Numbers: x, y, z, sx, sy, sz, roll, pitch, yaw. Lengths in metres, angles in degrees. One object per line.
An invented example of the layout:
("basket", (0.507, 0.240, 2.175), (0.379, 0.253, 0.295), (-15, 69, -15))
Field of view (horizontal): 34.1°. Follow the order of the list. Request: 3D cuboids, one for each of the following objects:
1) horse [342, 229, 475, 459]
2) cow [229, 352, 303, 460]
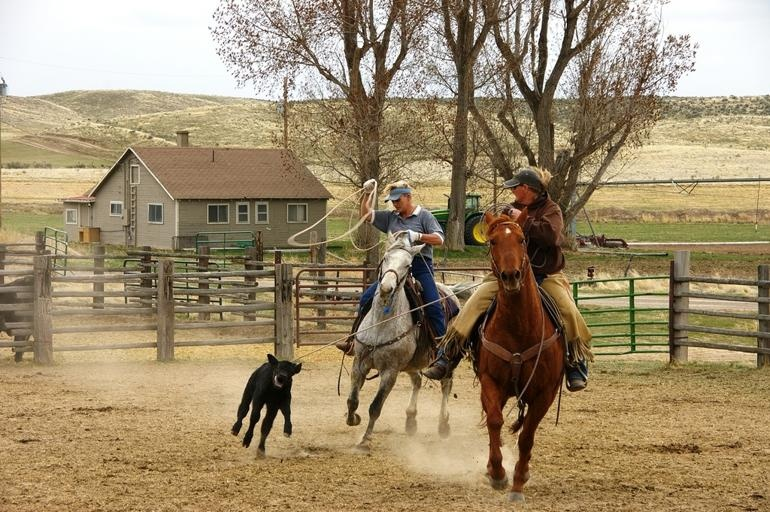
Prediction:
("horse", (-0.008, 2.506, 36.889), (2.389, 6.061, 9.078), (13, -3, 5))
("cow", (-3.138, 3.814, 34.067), (1.131, 2.467, 3.805), (10, -39, -21))
